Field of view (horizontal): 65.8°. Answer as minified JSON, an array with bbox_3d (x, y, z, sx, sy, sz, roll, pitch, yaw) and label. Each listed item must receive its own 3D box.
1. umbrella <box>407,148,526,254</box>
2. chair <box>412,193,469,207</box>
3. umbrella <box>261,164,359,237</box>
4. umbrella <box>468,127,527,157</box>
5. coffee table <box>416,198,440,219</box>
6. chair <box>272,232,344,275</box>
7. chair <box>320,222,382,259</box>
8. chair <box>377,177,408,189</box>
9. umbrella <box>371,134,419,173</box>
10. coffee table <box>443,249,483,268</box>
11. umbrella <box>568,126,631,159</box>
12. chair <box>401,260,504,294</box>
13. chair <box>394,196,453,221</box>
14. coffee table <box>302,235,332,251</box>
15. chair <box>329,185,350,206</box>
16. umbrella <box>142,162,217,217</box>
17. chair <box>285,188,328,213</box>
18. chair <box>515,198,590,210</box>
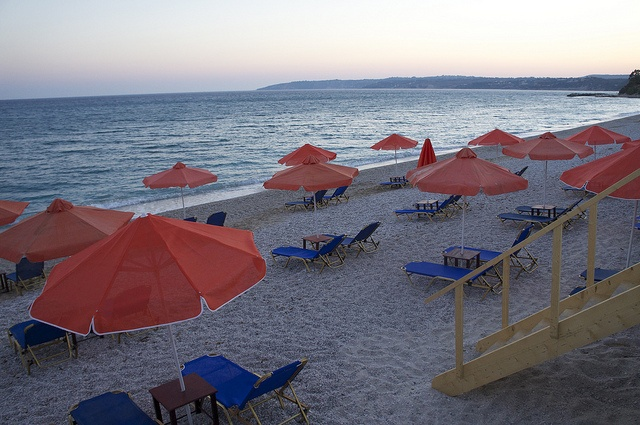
[{"bbox_3d":[3.095,-0.363,10.128,2.227,1.762,1.964,1,21,9],"label":"umbrella"},{"bbox_3d":[3.617,-0.346,15.434,1.322,0.393,0.576,1,7,14],"label":"chair"},{"bbox_3d":[-0.176,-0.531,10.937,1.119,0.757,1.140,-18,21,-31],"label":"umbrella"},{"bbox_3d":[6.059,-2.491,16.787,1.427,0.524,1.326,-6,20,6],"label":"umbrella"},{"bbox_3d":[3.400,-0.184,15.460,1.051,0.424,0.589,-3,17,-7],"label":"coffee table"},{"bbox_3d":[-0.265,0.914,11.697,1.606,0.682,0.835,5,10,27],"label":"chair"},{"bbox_3d":[0.905,0.618,12.357,0.708,0.599,1.262,-12,13,-42],"label":"chair"},{"bbox_3d":[2.961,-1.202,19.972,1.139,0.372,0.828,2,6,19],"label":"chair"},{"bbox_3d":[2.865,-2.383,18.645,1.055,0.795,1.014,11,26,28],"label":"umbrella"},{"bbox_3d":[3.049,0.908,10.449,0.542,0.283,0.523,3,8,33],"label":"coffee table"},{"bbox_3d":[8.462,-2.318,15.120,1.671,0.921,1.497,0,10,3],"label":"umbrella"},{"bbox_3d":[2.664,1.485,10.198,1.988,0.534,0.746,8,21,25],"label":"chair"},{"bbox_3d":[3.069,-0.140,14.696,1.619,0.561,0.764,1,6,12],"label":"chair"},{"bbox_3d":[-0.049,0.747,12.269,0.513,0.339,0.527,-13,18,-41],"label":"coffee table"},{"bbox_3d":[0.683,-0.654,18.161,0.622,0.631,0.798,-11,15,-36],"label":"chair"},{"bbox_3d":[-3.894,-0.763,13.516,1.265,1.019,1.159,-12,26,-28],"label":"umbrella"},{"bbox_3d":[-0.575,-0.399,17.197,1.395,0.566,0.690,3,12,25],"label":"chair"},{"bbox_3d":[6.494,-0.233,13.771,0.964,0.265,0.520,3,8,19],"label":"chair"}]
